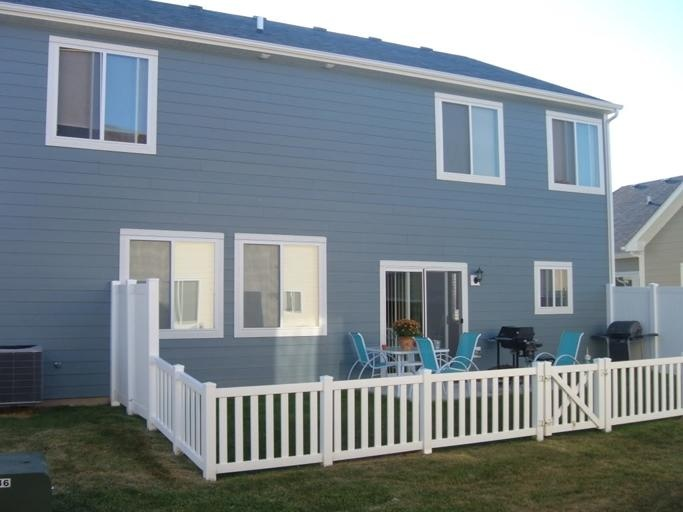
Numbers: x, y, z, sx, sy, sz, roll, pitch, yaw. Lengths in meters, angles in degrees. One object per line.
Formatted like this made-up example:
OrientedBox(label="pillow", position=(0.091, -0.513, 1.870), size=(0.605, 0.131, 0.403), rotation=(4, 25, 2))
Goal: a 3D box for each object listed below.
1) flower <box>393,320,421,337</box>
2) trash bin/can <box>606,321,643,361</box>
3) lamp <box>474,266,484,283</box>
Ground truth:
OrientedBox(label="flower", position=(1.286, 1.473, 14.249), size=(0.411, 0.250, 0.385), rotation=(1, -2, -10))
OrientedBox(label="trash bin/can", position=(6.534, 1.990, 16.213), size=(0.765, 1.019, 0.510), rotation=(5, 10, 22))
OrientedBox(label="lamp", position=(3.034, 0.427, 15.485), size=(0.312, 0.340, 0.125), rotation=(-8, 13, -43))
